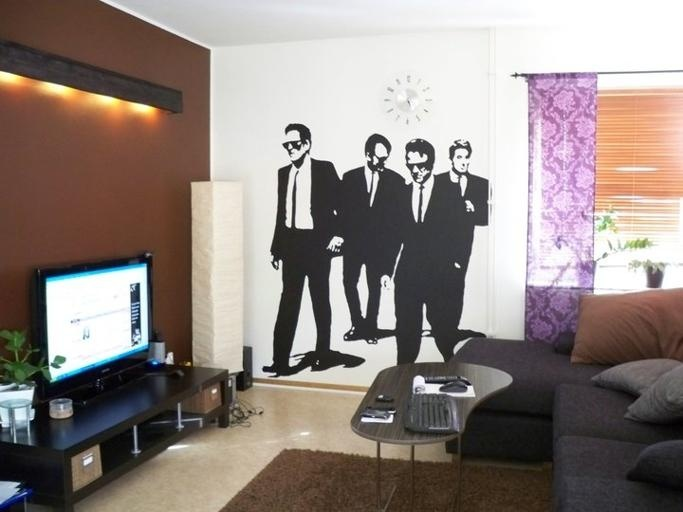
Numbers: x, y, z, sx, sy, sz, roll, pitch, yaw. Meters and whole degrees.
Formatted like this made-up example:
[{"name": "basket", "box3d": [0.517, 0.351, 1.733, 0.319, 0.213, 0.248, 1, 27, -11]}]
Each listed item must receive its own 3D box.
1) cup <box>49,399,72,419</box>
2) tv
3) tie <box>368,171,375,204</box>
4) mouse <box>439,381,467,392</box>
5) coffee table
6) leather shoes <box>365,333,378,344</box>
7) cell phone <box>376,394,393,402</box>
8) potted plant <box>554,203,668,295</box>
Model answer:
[{"name": "cup", "box3d": [-1.832, 1.001, 3.702, 0.119, 0.092, 0.123, 1, 1, 0]}, {"name": "tv", "box3d": [-1.798, 0.537, 4.065, 0.231, 0.814, 1.024, -1, 1, 15]}, {"name": "tie", "box3d": [0.282, -0.632, 5.189, 0.045, 0.270, 0.014, 4, 1, 15]}, {"name": "mouse", "box3d": [0.714, 0.833, 3.593, 0.116, 0.041, 0.072, -1, 1, -7]}, {"name": "coffee table", "box3d": [0.517, 0.894, 3.431, 0.760, 0.565, 1.107, 1, 10, 9]}, {"name": "leather shoes", "box3d": [0.286, 0.771, 5.300, 0.087, 0.029, 0.121, 2, 6, 11]}, {"name": "cell phone", "box3d": [0.270, 0.877, 3.497, 0.070, 0.022, 0.042, 2, 6, 11]}, {"name": "potted plant", "box3d": [2.342, -0.065, 4.946, 0.917, 0.660, 0.329, 0, 10, 7]}]
